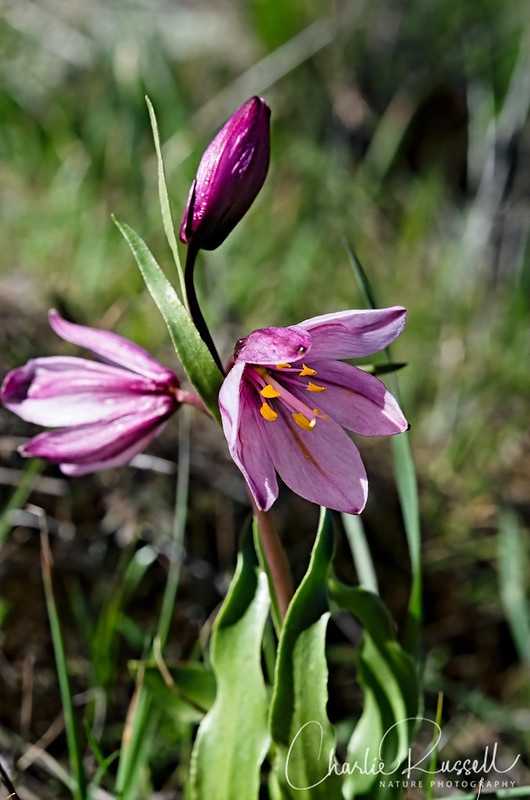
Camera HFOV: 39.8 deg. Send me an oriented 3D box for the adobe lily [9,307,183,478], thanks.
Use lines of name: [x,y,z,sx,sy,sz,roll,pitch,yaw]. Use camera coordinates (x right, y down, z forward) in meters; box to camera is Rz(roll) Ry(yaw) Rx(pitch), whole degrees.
adobe lily: [-0.259,0.004,1.121,0.298,0.123,0.199,-6,71,-11]

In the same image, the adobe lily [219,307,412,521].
adobe lily: [0.085,0.013,1.018,0.269,0.224,0.271,-12,49,12]
